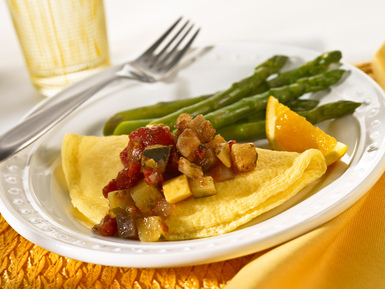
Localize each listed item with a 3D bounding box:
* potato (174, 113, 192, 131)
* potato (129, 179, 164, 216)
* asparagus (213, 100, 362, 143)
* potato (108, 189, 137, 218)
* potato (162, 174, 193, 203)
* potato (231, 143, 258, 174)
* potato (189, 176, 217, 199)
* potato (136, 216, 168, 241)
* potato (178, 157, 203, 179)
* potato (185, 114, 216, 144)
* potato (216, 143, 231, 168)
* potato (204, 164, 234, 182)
[{"bbox_3d":[-0.050,-0.131,2.250,0.074,0.040,0.096,29,69,-8],"label":"potato"},{"bbox_3d":[-0.241,0.277,2.145,0.186,0.151,0.265,-2,15,-7],"label":"potato"},{"bbox_3d":[0.625,-0.141,2.544,0.849,0.103,0.098,-13,60,3],"label":"asparagus"},{"bbox_3d":[-0.375,0.300,2.071,0.145,0.040,0.135,-4,61,-12],"label":"potato"},{"bbox_3d":[-0.084,0.234,2.084,0.142,0.081,0.116,-11,49,-13],"label":"potato"},{"bbox_3d":[0.300,0.070,2.230,0.157,0.144,0.108,-15,50,-16],"label":"potato"},{"bbox_3d":[0.063,0.225,2.124,0.146,0.073,0.108,-9,73,-9],"label":"potato"},{"bbox_3d":[-0.207,0.416,1.950,0.134,0.055,0.136,-6,48,-9],"label":"potato"},{"bbox_3d":[-0.012,0.138,2.110,0.136,0.107,0.069,22,50,16],"label":"potato"},{"bbox_3d":[0.048,-0.082,2.199,0.152,0.046,0.153,-44,98,-7],"label":"potato"},{"bbox_3d":[0.180,0.059,2.162,0.032,0.113,0.112,-12,66,29],"label":"potato"},{"bbox_3d":[0.163,0.163,2.214,0.162,0.033,0.089,-6,78,5],"label":"potato"}]
